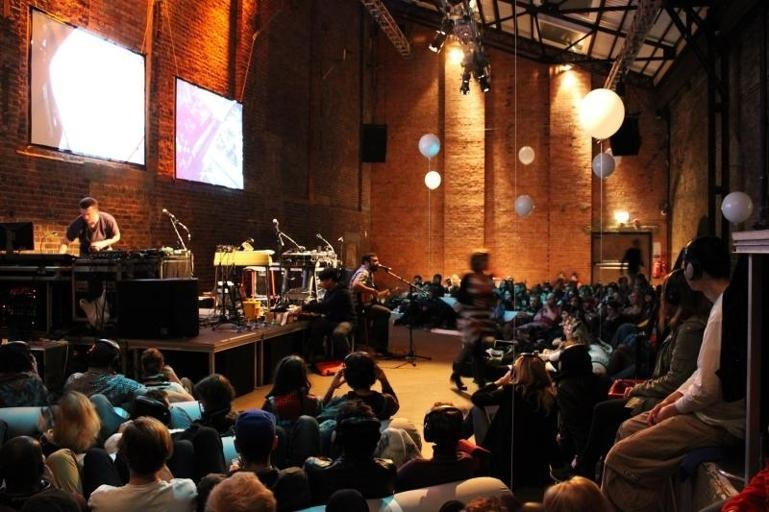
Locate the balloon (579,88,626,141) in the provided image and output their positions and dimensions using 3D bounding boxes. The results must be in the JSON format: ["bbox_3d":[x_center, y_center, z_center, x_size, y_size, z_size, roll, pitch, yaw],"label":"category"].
[{"bbox_3d":[2.923,-1.912,8.984,0.540,0.625,0.542,-6,-12,-17],"label":"balloon"}]

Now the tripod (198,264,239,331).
[{"bbox_3d":[-2.135,0.534,8.545,0.557,0.726,0.496,2,14,-19],"label":"tripod"}]

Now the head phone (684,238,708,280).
[{"bbox_3d":[2.149,0.032,4.465,0.091,0.239,0.175,3,9,14],"label":"head phone"}]

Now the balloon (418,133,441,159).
[{"bbox_3d":[0.974,-2.427,13.615,0.399,0.494,0.299,5,-7,-43],"label":"balloon"}]

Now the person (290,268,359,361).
[{"bbox_3d":[-0.818,0.840,8.787,0.830,1.305,0.721,-8,1,-25],"label":"person"}]

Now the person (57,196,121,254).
[{"bbox_3d":[-3.666,-0.354,7.958,0.625,0.712,0.476,-2,-5,25],"label":"person"}]

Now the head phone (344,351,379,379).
[{"bbox_3d":[-0.189,0.861,5.159,0.186,0.227,0.233,-10,3,3],"label":"head phone"}]

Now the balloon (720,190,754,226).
[{"bbox_3d":[4.610,-0.620,8.343,0.389,0.472,0.401,8,11,41],"label":"balloon"}]

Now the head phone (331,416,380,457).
[{"bbox_3d":[-0.205,1.175,4.235,0.272,0.241,0.243,-6,-7,42],"label":"head phone"}]

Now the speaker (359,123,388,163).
[{"bbox_3d":[-0.281,-2.772,15.450,0.646,0.915,0.357,0,-5,6],"label":"speaker"}]

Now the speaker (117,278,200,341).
[{"bbox_3d":[-2.655,0.462,7.315,0.889,0.734,0.890,6,19,-5],"label":"speaker"}]

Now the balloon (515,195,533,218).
[{"bbox_3d":[2.860,-1.076,13.210,0.467,0.544,0.468,-7,8,4],"label":"balloon"}]

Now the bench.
[{"bbox_3d":[-0.894,1.367,4.953,4.006,0.593,2.146,-1,-5,13],"label":"bench"}]
